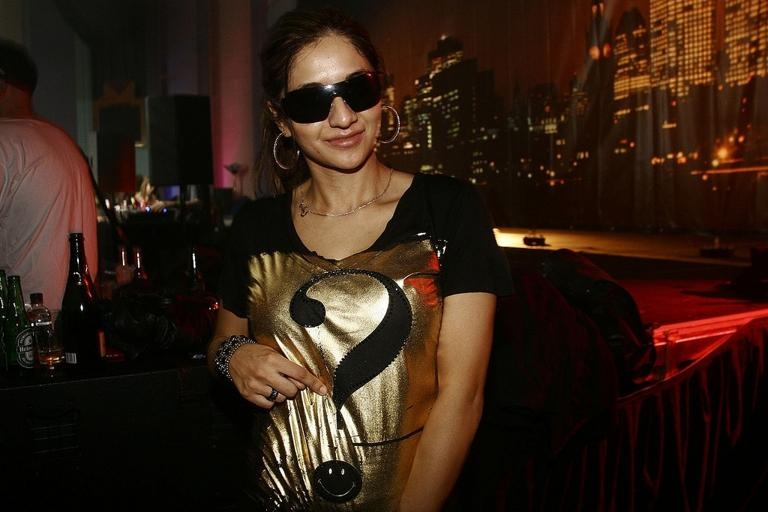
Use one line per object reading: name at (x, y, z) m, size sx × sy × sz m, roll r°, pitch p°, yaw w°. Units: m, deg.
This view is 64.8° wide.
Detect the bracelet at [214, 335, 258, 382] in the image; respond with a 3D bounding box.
bracelet at (-0.632, 0.418, 2.549) m, size 0.166 × 0.178 × 0.063 m, roll 21°, pitch 4°, yaw 3°

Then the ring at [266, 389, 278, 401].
ring at (-0.435, 0.551, 2.376) m, size 0.043 × 0.042 × 0.038 m, roll 7°, pitch 0°, yaw 28°
